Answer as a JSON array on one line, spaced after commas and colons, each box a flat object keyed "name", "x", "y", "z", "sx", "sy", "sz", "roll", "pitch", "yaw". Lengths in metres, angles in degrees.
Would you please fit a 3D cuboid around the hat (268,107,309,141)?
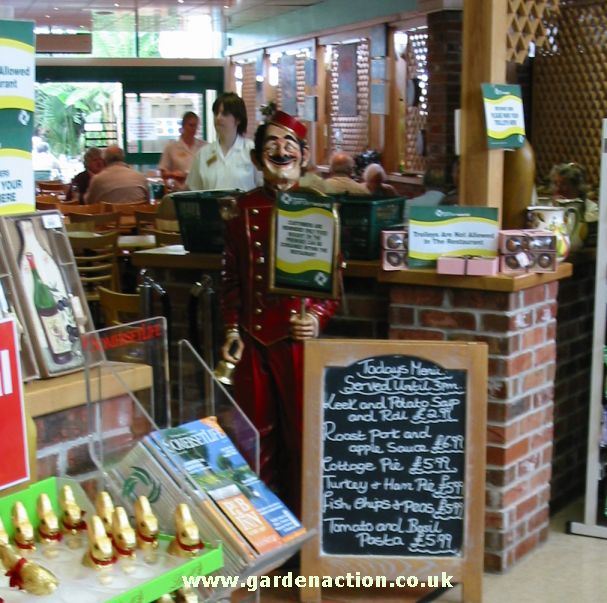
[{"name": "hat", "x": -0.051, "y": -0.606, "z": 2.167, "sx": 0.126, "sy": 0.107, "sz": 0.149, "roll": -5, "pitch": 15, "yaw": 0}]

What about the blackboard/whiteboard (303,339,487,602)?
[{"name": "blackboard/whiteboard", "x": 0.276, "y": 0.524, "z": 1.915, "sx": 0.544, "sy": 0.832, "sz": 0.273, "roll": -1, "pitch": 18, "yaw": 15}]
